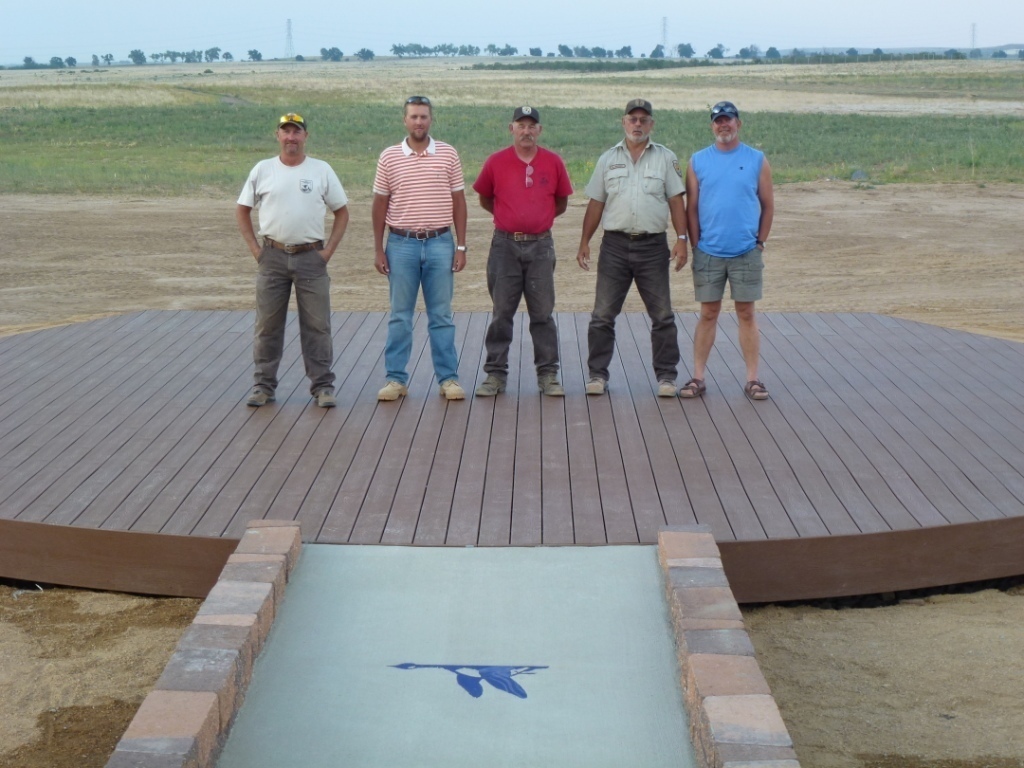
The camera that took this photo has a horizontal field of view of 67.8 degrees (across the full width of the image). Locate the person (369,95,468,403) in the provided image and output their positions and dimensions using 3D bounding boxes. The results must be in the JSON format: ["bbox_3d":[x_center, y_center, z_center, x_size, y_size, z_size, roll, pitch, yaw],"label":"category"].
[{"bbox_3d":[-0.581,-0.808,4.683,0.580,1.799,0.573,-1,23,-3],"label":"person"}]

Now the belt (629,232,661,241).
[{"bbox_3d":[0.834,-0.914,4.694,0.211,0.039,0.036,-4,23,-11],"label":"belt"}]

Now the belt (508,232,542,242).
[{"bbox_3d":[0.083,-0.894,4.632,0.178,0.050,0.024,-2,23,-5],"label":"belt"}]

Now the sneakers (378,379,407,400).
[{"bbox_3d":[-0.764,0.052,4.840,0.081,0.093,0.201,1,-2,9],"label":"sneakers"}]

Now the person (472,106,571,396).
[{"bbox_3d":[0.057,-0.741,4.764,0.573,1.593,0.531,2,23,3],"label":"person"}]

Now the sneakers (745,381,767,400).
[{"bbox_3d":[1.553,0.046,4.795,0.070,0.060,0.155,-3,7,-5],"label":"sneakers"}]

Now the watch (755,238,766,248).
[{"bbox_3d":[1.535,-0.866,4.693,0.055,0.036,0.058,3,-8,11],"label":"watch"}]

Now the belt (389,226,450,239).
[{"bbox_3d":[-0.572,-0.918,4.615,0.353,0.064,0.100,-2,23,-6],"label":"belt"}]

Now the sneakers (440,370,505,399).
[{"bbox_3d":[-0.251,0.004,4.858,0.367,0.167,0.172,3,10,-4],"label":"sneakers"}]

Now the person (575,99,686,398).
[{"bbox_3d":[0.756,-0.851,4.724,0.654,1.695,0.426,4,23,8],"label":"person"}]

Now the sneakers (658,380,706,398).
[{"bbox_3d":[1.084,0.010,4.838,0.229,0.086,0.133,2,6,-7],"label":"sneakers"}]

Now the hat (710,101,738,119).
[{"bbox_3d":[1.262,-1.613,4.508,0.133,0.105,0.252,8,24,18],"label":"hat"}]

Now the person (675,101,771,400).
[{"bbox_3d":[1.343,-0.811,4.710,0.593,1.733,0.506,5,23,11],"label":"person"}]

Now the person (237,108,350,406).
[{"bbox_3d":[-1.358,-0.758,4.692,0.710,1.706,0.799,-5,23,-13],"label":"person"}]

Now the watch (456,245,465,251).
[{"bbox_3d":[-0.318,-0.827,4.621,0.043,0.030,0.045,0,1,6],"label":"watch"}]
